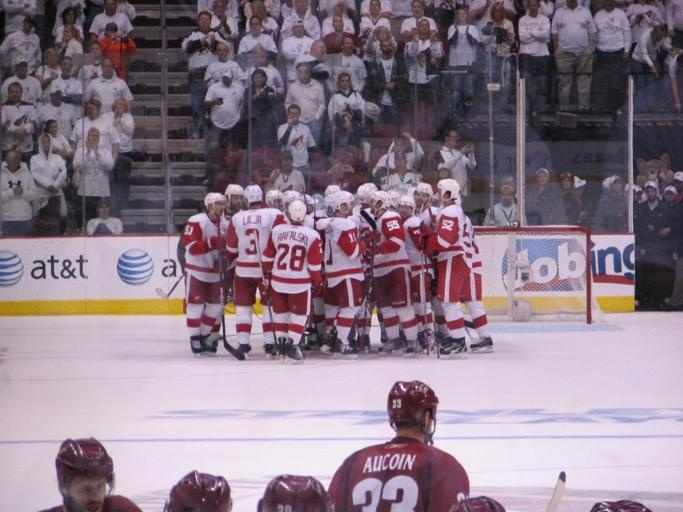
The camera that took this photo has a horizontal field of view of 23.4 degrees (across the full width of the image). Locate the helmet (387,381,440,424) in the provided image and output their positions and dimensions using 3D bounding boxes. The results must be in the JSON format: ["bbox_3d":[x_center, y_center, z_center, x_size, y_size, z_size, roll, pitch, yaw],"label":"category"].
[{"bbox_3d":[0.816,1.749,19.725,0.427,0.538,0.548,4,8,36],"label":"helmet"}]
